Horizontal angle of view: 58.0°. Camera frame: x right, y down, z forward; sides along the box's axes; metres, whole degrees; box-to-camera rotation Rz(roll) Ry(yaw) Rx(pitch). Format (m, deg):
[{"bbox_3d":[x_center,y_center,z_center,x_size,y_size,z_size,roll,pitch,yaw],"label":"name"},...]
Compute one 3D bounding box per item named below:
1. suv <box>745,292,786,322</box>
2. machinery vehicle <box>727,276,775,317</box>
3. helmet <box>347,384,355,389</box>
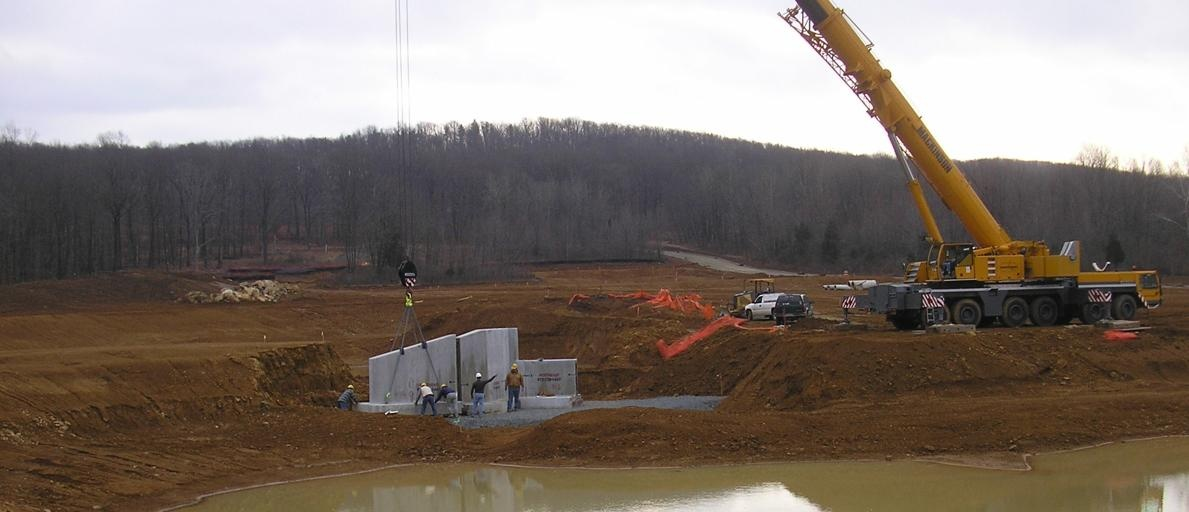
[{"bbox_3d":[18.197,5.557,115.844,2.484,1.641,4.322,-2,3,-30],"label":"suv"},{"bbox_3d":[17.340,4.445,121.831,7.396,5.080,4.010,-4,6,10],"label":"machinery vehicle"},{"bbox_3d":[-23.012,12.441,101.880,0.516,0.234,0.687,2,1,40],"label":"helmet"}]
